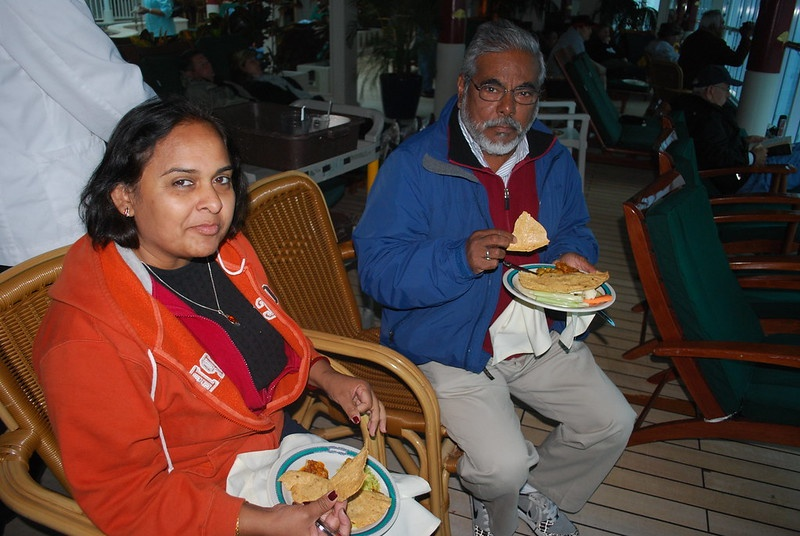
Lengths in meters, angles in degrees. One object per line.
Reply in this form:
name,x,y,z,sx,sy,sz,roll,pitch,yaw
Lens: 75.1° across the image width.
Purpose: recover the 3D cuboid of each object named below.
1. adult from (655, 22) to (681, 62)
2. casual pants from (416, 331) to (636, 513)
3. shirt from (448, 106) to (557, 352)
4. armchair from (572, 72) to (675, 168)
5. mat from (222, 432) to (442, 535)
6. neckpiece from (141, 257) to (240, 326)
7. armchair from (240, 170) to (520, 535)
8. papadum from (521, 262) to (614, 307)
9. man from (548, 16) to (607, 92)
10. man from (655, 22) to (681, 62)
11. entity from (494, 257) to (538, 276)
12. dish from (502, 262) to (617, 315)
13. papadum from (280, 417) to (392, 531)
adult,5.658,-4.567,11.024,0.505,0.822,0.573,-7,-21,26
casual pants,0.533,0.735,2.434,0.662,0.311,0.897,-15,35,-30
shirt,0.483,-0.135,2.510,0.577,1.088,0.247,-5,-1,-22
armchair,2.730,-1.829,6.364,1.104,0.857,0.752,18,35,12
mat,-0.221,0.692,1.724,0.431,0.058,0.372,21,22,-10
neckpiece,-0.690,0.097,1.765,0.032,0.302,0.162,-31,10,31
armchair,-0.053,0.057,2.934,1.392,2.005,1.312,13,31,22
papadum,0.627,0.068,2.036,0.244,0.061,0.198,5,26,21
man,3.281,-3.707,9.442,0.874,1.621,0.942,0,5,15
man,5.734,-4.720,10.992,0.416,0.725,0.513,30,13,31
entity,0.494,-0.007,2.243,0.199,0.027,0.027,21,-13,-24
dish,0.632,0.054,2.115,0.487,0.057,0.510,4,19,-12
papadum,-0.193,0.686,1.628,0.271,0.121,0.270,41,48,14
